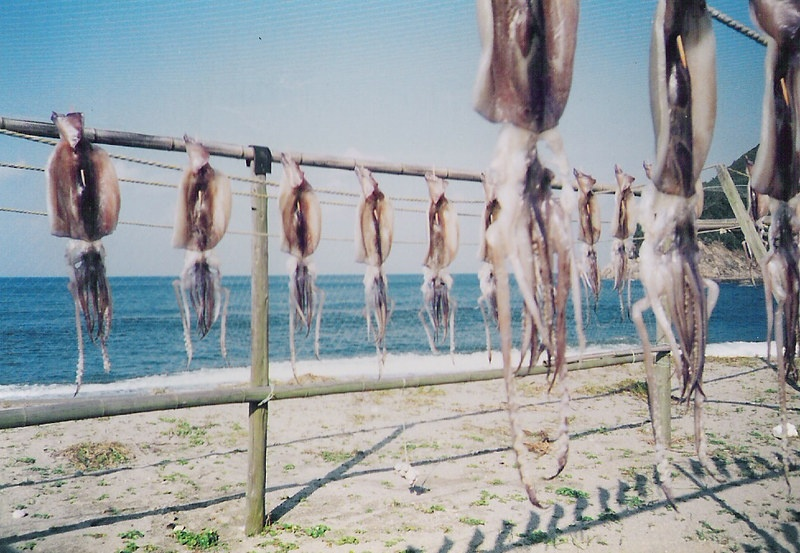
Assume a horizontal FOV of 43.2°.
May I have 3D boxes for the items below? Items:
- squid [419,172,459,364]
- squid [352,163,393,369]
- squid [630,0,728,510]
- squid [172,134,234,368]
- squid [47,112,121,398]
[{"bbox_3d":[0.717,-0.109,18.219,0.746,3.314,0.901,-1,18,2],"label":"squid"},{"bbox_3d":[-0.410,-0.323,17.991,0.786,4.083,0.812,-2,3,-4],"label":"squid"},{"bbox_3d":[4.252,-0.357,15.359,1.332,7.625,0.726,-3,-4,5],"label":"squid"},{"bbox_3d":[-3.410,-0.465,17.463,0.978,3.862,0.661,-2,-4,-14],"label":"squid"},{"bbox_3d":[-5.276,-0.519,16.922,1.135,4.396,0.637,-1,-4,-23],"label":"squid"}]
